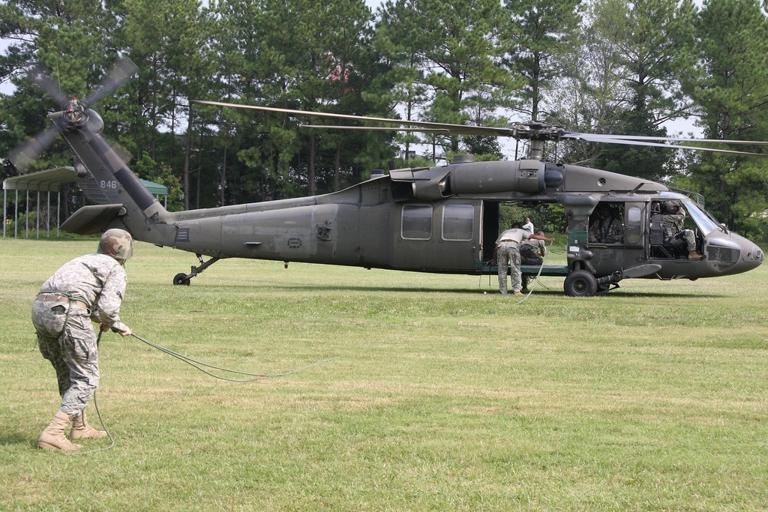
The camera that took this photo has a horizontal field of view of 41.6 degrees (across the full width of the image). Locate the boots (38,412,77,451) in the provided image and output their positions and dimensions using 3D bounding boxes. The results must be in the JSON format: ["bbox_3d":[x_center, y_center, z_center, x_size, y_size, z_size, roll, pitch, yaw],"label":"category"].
[{"bbox_3d":[-6.182,3.415,19.422,0.855,0.666,0.296,12,-13,10],"label":"boots"}]

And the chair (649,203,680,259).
[{"bbox_3d":[8.881,-0.846,31.984,1.030,1.725,0.523,2,0,4],"label":"chair"}]

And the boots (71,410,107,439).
[{"bbox_3d":[-5.669,3.337,19.879,0.989,0.607,0.353,0,3,-10],"label":"boots"}]

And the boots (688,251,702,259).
[{"bbox_3d":[9.729,-0.008,31.643,0.364,0.255,0.150,2,0,13],"label":"boots"}]
